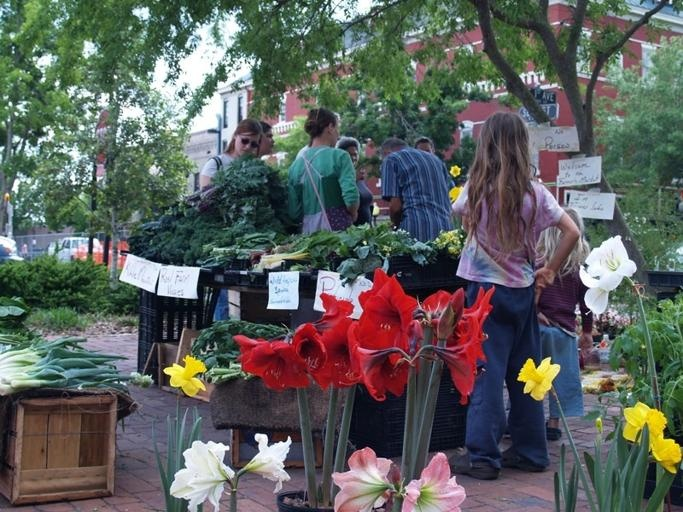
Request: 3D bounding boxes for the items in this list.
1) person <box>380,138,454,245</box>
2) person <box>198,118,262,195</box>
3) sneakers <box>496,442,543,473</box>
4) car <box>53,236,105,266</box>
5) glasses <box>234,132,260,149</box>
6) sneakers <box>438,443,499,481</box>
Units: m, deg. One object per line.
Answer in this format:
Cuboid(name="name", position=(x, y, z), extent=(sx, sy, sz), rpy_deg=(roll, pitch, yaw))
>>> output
Cuboid(name="person", position=(0.745, -0.584, 7.672), extent=(0.688, 0.934, 0.441), rpy_deg=(-1, -9, 5))
Cuboid(name="person", position=(-1.108, -1.043, 7.817), extent=(0.619, 0.863, 0.867), rpy_deg=(1, -10, -7))
Cuboid(name="sneakers", position=(1.412, 1.633, 6.216), extent=(0.144, 0.181, 0.394), rpy_deg=(-1, 6, -36))
Cuboid(name="car", position=(-11.219, -0.285, 33.423), extent=(1.737, 1.521, 3.798), rpy_deg=(0, -2, -39))
Cuboid(name="glasses", position=(-0.953, -1.170, 7.892), extent=(0.224, 0.142, 0.104), rpy_deg=(1, -9, -10))
Cuboid(name="sneakers", position=(0.978, 1.565, 6.092), extent=(0.210, 0.267, 0.560), rpy_deg=(3, 0, -39))
